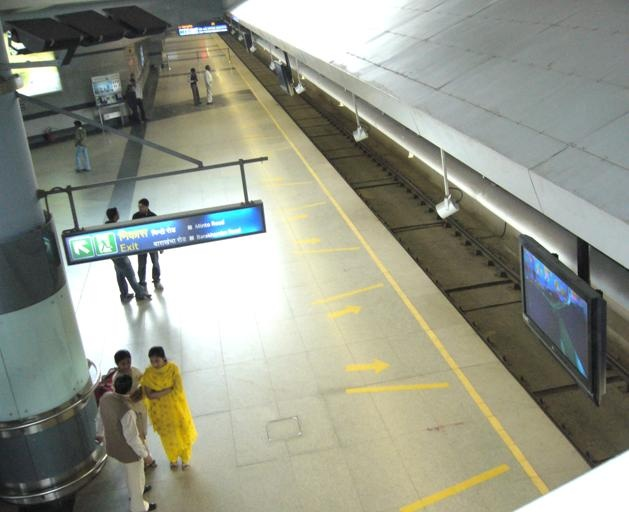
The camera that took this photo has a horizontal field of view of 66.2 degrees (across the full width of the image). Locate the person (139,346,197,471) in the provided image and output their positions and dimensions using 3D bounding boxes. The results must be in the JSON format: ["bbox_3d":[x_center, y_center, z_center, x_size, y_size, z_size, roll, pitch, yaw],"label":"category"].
[{"bbox_3d":[-1.733,1.833,5.717,0.548,1.487,0.411,-8,13,-11],"label":"person"}]

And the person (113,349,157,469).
[{"bbox_3d":[-2.017,1.788,5.512,0.445,1.501,0.391,-11,19,-22],"label":"person"}]

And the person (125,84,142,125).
[{"bbox_3d":[-8.057,-6.757,21.332,0.522,1.639,0.939,-16,27,-16],"label":"person"}]

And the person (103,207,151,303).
[{"bbox_3d":[-3.628,0.356,9.295,0.500,1.050,0.735,-28,33,-35],"label":"person"}]
